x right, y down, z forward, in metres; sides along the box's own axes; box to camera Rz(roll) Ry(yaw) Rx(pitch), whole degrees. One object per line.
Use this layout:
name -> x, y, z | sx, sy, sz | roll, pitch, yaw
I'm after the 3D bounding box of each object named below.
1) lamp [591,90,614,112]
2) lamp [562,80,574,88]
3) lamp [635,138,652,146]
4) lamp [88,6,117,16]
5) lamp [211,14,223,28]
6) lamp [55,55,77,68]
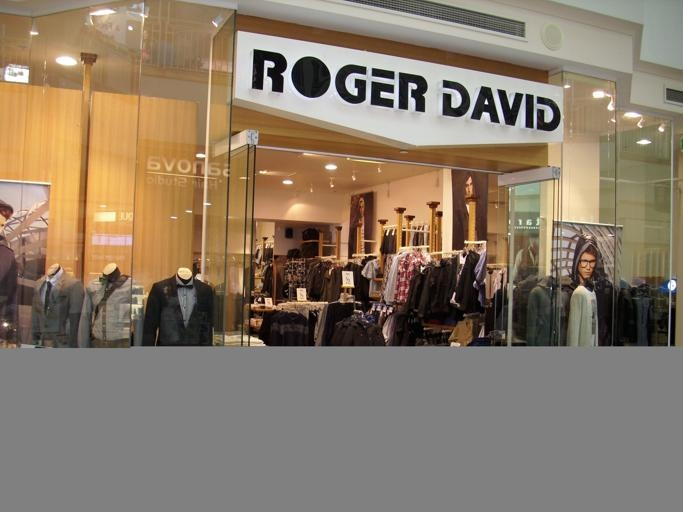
lamp -> 2.483, -1.472, 6.250 | 0.261, 0.200, 0.060 | -1, 6, -21
lamp -> 2.094, -1.588, 6.116 | 0.096, 0.084, 0.026 | -2, 7, -32
lamp -> 3.029, -1.139, 6.598 | 0.208, 0.070, 0.041 | -3, 7, -35
lamp -> -1.618, -1.640, 4.460 | 0.206, 0.061, 0.052 | 5, 7, 22
lamp -> -0.914, -1.712, 4.822 | 0.051, 0.056, 0.093 | -44, 4, 37
lamp -> -1.865, -1.321, 4.477 | 0.206, 0.083, 0.031 | 5, 7, 28
